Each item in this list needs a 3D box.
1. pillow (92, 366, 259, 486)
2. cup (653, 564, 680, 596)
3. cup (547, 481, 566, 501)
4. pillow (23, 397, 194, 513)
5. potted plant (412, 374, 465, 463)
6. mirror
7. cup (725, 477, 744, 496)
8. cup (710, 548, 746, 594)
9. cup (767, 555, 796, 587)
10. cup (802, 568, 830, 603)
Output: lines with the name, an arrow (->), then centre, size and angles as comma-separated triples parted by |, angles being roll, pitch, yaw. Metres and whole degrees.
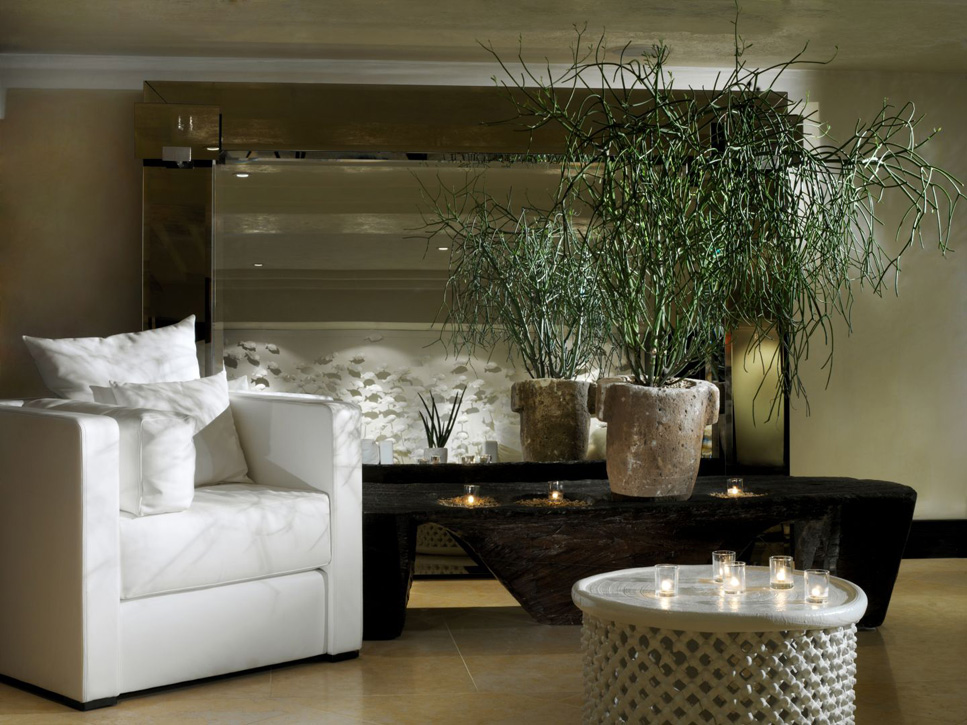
pillow -> -1.107, 0.233, 3.140 | 0.176, 0.355, 0.395 | 2, 9, 42
cup -> 0.487, 0.583, 2.400 | 0.070, 0.080, 0.072 | 1, -7, 0
cup -> 0.287, 0.501, 3.475 | 0.062, 0.068, 0.060 | 1, -6, 0
pillow -> -1.269, 0.339, 3.009 | 0.442, 0.311, 0.336 | -5, -4, 15
potted plant -> -0.242, 0.305, 4.569 | 0.347, 0.475, 0.343 | 0, -6, 5
mirror -> -0.155, -0.235, 4.096 | 1.570, 1.161, 0.061 | 0, 0, 0
cup -> 1.044, 0.510, 3.676 | 0.055, 0.077, 0.077 | 1, 1, 15
cup -> 0.656, 0.572, 2.429 | 0.069, 0.105, 0.120 | 0, -2, 2
cup -> 0.852, 0.576, 2.487 | 0.078, 0.091, 0.080 | 1, -4, 0
cup -> 0.880, 0.582, 2.339 | 0.074, 0.087, 0.077 | 1, -4, 0
